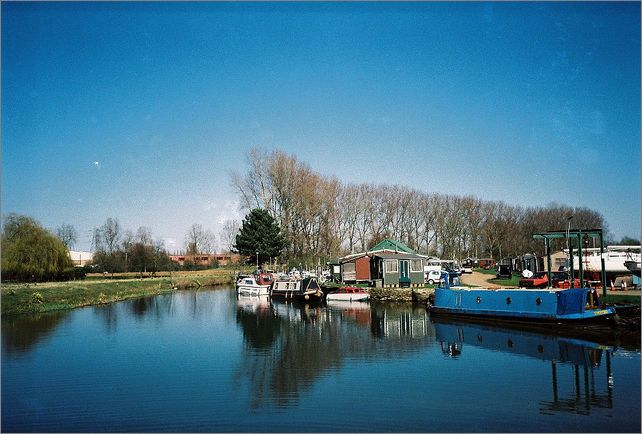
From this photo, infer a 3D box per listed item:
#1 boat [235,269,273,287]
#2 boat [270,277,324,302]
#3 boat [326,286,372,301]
[{"bbox_3d":[-8.307,7.455,61.865,4.662,2.008,2.946,-7,-10,34],"label":"boat"},{"bbox_3d":[-2.521,7.461,52.169,2.105,2.172,6.790,2,-10,-31],"label":"boat"},{"bbox_3d":[2.633,7.650,50.308,3.003,1.220,1.794,0,-7,16],"label":"boat"}]
